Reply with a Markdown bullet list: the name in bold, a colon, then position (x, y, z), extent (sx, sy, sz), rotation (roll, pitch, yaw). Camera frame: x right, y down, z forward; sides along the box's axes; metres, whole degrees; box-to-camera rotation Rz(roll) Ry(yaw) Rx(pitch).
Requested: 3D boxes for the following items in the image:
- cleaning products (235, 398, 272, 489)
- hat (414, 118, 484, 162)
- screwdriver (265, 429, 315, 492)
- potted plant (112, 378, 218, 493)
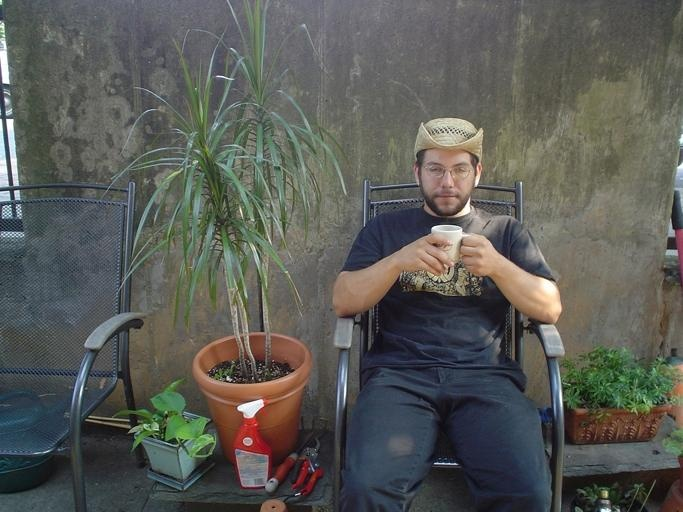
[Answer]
- **cleaning products**: position (-0.405, 0.869, 2.657), extent (0.179, 0.497, 0.078), rotation (0, 23, -2)
- **hat**: position (0.530, -0.569, 2.846), extent (0.361, 0.186, 0.409), rotation (13, 11, 37)
- **screwdriver**: position (-0.232, 0.993, 2.785), extent (0.056, 0.059, 0.365), rotation (24, 45, 29)
- **potted plant**: position (-0.825, 0.862, 2.711), extent (0.376, 0.377, 0.447), rotation (-5, 11, 15)
